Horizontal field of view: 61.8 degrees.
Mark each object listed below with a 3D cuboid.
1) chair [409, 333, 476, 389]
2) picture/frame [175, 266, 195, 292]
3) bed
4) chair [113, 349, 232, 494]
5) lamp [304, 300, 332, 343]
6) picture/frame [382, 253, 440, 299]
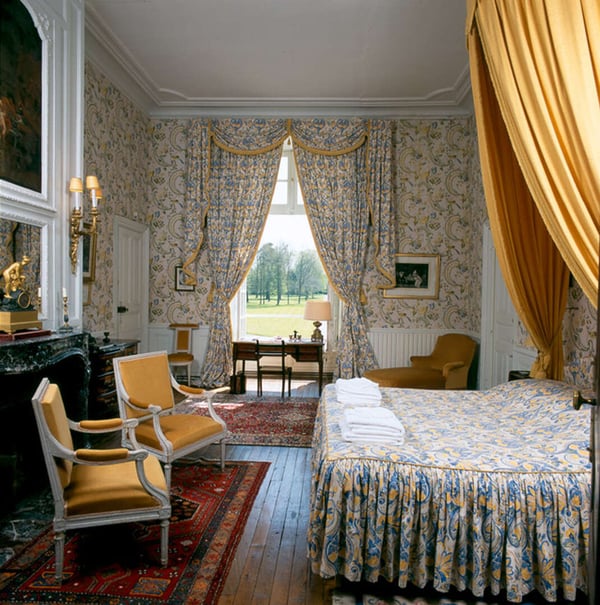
[{"bbox_3d":[1.813,0.640,6.080,0.702,0.893,0.640,4,-1,-32],"label":"chair"},{"bbox_3d":[-1.577,-0.353,6.888,0.282,0.390,0.026,0,1,3],"label":"picture/frame"},{"bbox_3d":[0.739,0.882,2.419,1.052,0.495,1.149,0,4,8],"label":"bed"},{"bbox_3d":[-0.899,0.770,3.906,0.809,1.316,0.901,-1,2,33],"label":"chair"},{"bbox_3d":[0.189,0.231,6.273,0.390,0.679,0.423,-1,2,-4],"label":"lamp"},{"bbox_3d":[1.499,-0.382,6.689,0.517,0.487,0.040,1,1,2],"label":"picture/frame"}]
